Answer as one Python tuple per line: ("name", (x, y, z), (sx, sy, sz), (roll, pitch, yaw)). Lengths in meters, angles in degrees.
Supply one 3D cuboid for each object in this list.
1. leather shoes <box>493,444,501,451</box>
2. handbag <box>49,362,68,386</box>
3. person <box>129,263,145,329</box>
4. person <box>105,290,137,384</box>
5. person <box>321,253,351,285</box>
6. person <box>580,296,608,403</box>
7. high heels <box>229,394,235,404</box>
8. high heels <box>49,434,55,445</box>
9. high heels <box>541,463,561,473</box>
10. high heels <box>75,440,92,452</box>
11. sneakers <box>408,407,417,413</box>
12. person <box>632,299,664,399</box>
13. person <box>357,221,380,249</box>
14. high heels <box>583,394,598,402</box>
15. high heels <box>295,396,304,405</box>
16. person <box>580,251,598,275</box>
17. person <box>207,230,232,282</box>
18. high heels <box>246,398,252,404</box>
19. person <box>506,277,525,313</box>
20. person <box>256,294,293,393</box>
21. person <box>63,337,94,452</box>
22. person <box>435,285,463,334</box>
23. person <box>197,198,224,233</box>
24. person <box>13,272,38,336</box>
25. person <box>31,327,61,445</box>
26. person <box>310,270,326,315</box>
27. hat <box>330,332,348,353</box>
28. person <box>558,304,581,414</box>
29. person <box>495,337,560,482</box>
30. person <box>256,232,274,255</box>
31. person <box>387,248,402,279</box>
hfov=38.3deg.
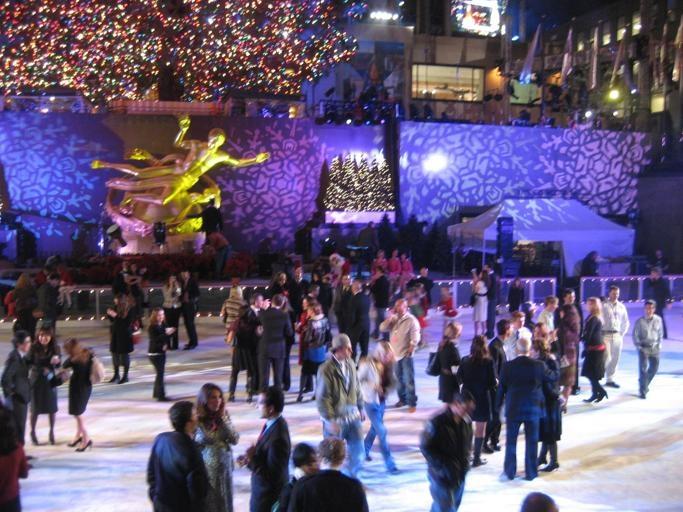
("leather shoes", (3.283, 4.065, 20.709), (0.139, 0.109, 0.146), (-2, -3, 24))
("handbag", (-5.970, 2.515, 20.666), (0.334, 0.466, 0.194), (3, -12, 12))
("person", (-5.664, 1.031, 27.175), (0.437, 1.791, 0.435), (1, 22, 0))
("person", (-5.286, 1.972, 23.520), (0.631, 2.165, 1.287), (0, 1, -13))
("person", (-0.169, 0.386, 27.554), (0.319, 0.526, 0.900), (-19, -13, -5))
("person", (5.778, 2.172, 22.355), (0.570, 2.412, 0.408), (0, 1, -24))
("high heels", (-2.504, 3.292, 22.429), (0.085, 0.247, 0.124), (7, 8, -18))
("high heels", (-6.183, 3.929, 20.873), (0.076, 0.261, 0.130), (0, 9, -35))
("high heels", (4.280, 4.382, 20.158), (0.454, 0.203, 0.156), (1, 11, 2))
("high heels", (-5.445, 4.041, 20.715), (0.321, 0.164, 0.176), (-7, 3, -3))
("sneakers", (1.580, 3.465, 21.982), (0.108, 0.154, 0.153), (1, -9, 0))
("person", (7.135, 2.183, 22.794), (0.571, 2.267, 0.756), (2, 1, 39))
("person", (0.865, -0.665, 32.090), (0.560, 0.868, 0.861), (1, 1, 0))
("high heels", (5.681, 3.296, 22.542), (0.390, 0.175, 0.124), (6, -3, 36))
("high heels", (-0.952, 3.305, 22.364), (0.093, 0.161, 0.149), (16, 19, 38))
("person", (7.915, 0.256, 31.339), (0.517, 1.206, 0.455), (-7, 18, -13))
("person", (-3.946, -0.038, 31.129), (0.602, 1.483, 2.150), (1, 0, -8))
("high heels", (-2.099, 3.311, 22.350), (0.098, 0.192, 0.056), (3, 5, 5))
("person", (4.742, 1.056, 26.642), (0.385, 0.919, 1.022), (1, 1, 9))
("person", (-1.554, 2.014, 22.273), (0.754, 2.426, 0.696), (1, 18, -14))
("person", (-5.575, 2.958, 20.807), (0.633, 2.365, 0.510), (0, 1, -15))
("person", (2.684, 1.393, 25.034), (0.651, 1.420, 0.528), (0, 22, -5))
("person", (-4.174, -1.152, 31.423), (0.629, 0.962, 1.512), (1, 0, -10))
("person", (-7.947, 1.276, 24.584), (0.564, 1.655, 1.190), (0, 1, -18))
("person", (-6.286, 2.759, 20.809), (0.670, 2.537, 0.606), (1, 1, -11))
("person", (-0.727, 0.928, 24.560), (0.334, 1.014, 0.314), (1, -13, 40))
("hat", (-0.046, 1.758, 19.711), (0.250, 0.338, 0.334), (3, -15, 45))
("person", (5.075, 2.239, 21.976), (0.599, 2.556, 0.476), (1, 1, -11))
("person", (3.718, 3.133, 19.877), (1.019, 2.898, 0.422), (1, 1, 6))
("person", (-2.690, -0.362, 35.511), (0.248, 0.976, 0.677), (21, -3, -25))
("person", (1.609, 0.259, 29.846), (0.430, 0.833, 0.810), (1, 1, 3))
